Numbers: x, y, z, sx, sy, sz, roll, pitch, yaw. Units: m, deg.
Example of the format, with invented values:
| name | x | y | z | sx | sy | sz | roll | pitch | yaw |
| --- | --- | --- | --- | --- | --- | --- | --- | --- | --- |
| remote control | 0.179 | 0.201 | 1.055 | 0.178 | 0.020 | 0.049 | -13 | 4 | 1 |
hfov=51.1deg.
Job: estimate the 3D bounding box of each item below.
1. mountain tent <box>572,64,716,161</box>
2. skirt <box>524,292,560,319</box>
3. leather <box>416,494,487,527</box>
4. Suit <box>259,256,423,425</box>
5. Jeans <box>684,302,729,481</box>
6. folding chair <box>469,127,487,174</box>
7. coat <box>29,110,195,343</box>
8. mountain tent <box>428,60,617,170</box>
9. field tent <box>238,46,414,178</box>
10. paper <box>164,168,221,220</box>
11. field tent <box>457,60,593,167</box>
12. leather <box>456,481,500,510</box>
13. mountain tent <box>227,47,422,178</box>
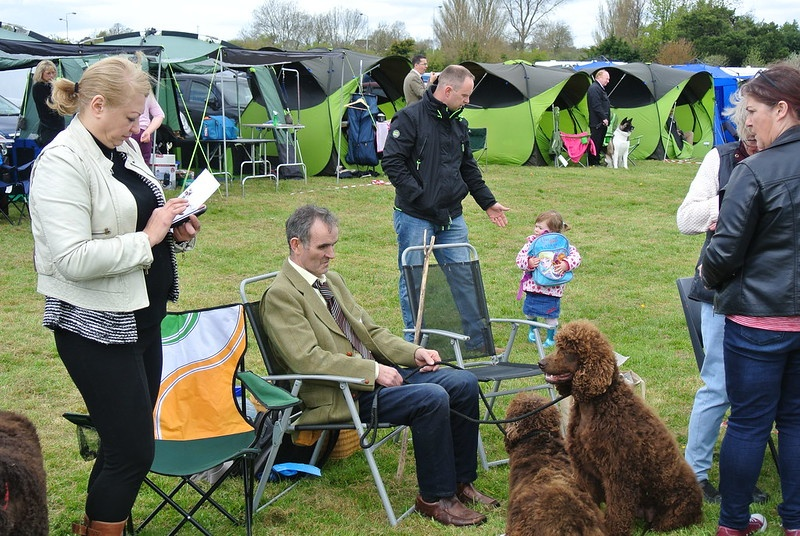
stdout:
| name | x | y | z | sx | sy | sz | roll | pitch | yaw |
| --- | --- | --- | --- | --- | --- | --- | --- | --- | --- |
| mountain tent | 6.121 | -4.142 | 20.303 | 2.787 | 1.804 | 3.016 | -20 | 22 | -19 |
| skirt | 1.401 | 0.305 | 8.159 | 0.361 | 0.227 | 0.294 | 2 | 40 | 19 |
| leather | 0.355 | 1.680 | 5.716 | 0.433 | 0.191 | 0.184 | 1 | 1 | 20 |
| Suit | -0.405 | 0.567 | 6.199 | 1.002 | 1.276 | 1.038 | 2 | 9 | 23 |
| Jeans | 2.239 | 0.922 | 6.031 | 0.227 | 1.232 | 0.320 | -1 | -27 | 36 |
| folding chair | 1.538 | -2.349 | 16.468 | 0.433 | 0.727 | 0.543 | 4 | 18 | 29 |
| coat | -1.864 | -0.412 | 5.383 | 0.994 | 1.542 | 1.301 | 2 | 11 | 6 |
| mountain tent | 2.352 | -3.578 | 18.711 | 3.067 | 2.102 | 2.947 | 8 | 9 | 29 |
| field tent | -1.132 | -3.139 | 16.226 | 2.582 | 1.795 | 2.761 | 4 | 8 | 27 |
| paper | -1.259 | -0.417 | 5.171 | 0.201 | 0.038 | 0.361 | 37 | 78 | 29 |
| field tent | 2.887 | -3.410 | 17.851 | 2.282 | 1.696 | 2.564 | -10 | 17 | -25 |
| leather | 0.539 | 1.625 | 5.909 | 0.350 | 0.170 | 0.126 | 0 | 4 | 32 |
| mountain tent | -1.326 | -3.184 | 15.830 | 2.599 | 1.708 | 2.738 | 8 | 10 | 38 |
